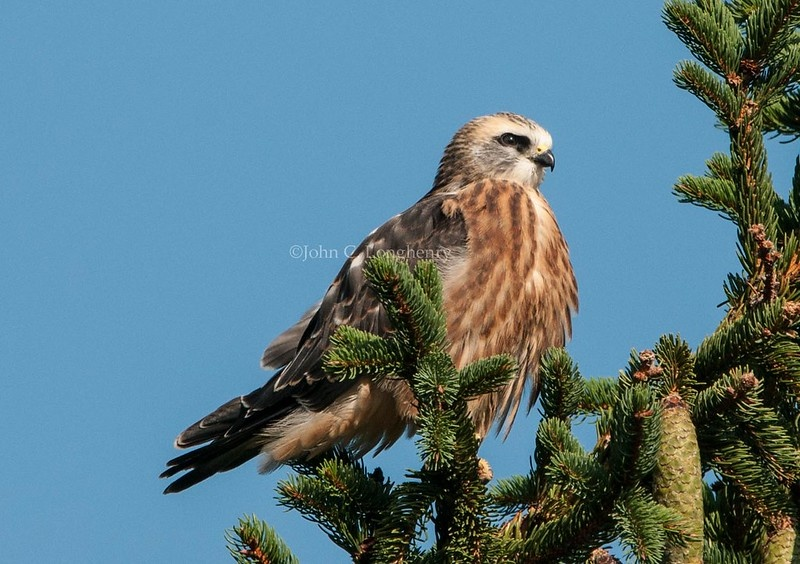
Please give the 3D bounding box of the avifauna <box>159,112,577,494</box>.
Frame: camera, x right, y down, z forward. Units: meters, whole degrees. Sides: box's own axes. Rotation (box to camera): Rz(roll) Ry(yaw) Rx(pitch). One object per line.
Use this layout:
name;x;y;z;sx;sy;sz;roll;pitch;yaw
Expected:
avifauna;-0.031;-0.032;8.818;1.989;2.186;0.841;-14;-39;13
